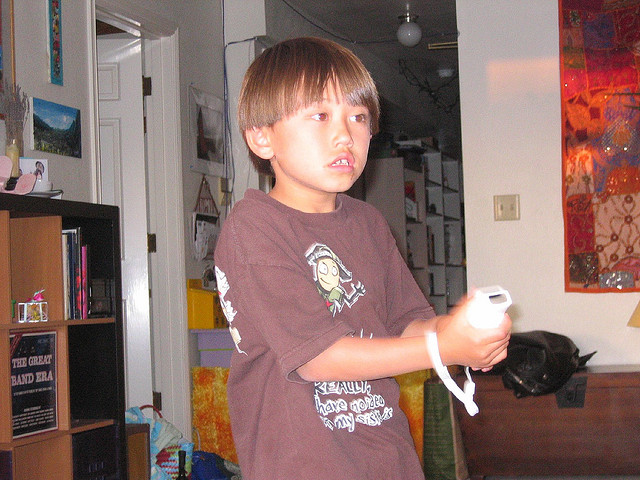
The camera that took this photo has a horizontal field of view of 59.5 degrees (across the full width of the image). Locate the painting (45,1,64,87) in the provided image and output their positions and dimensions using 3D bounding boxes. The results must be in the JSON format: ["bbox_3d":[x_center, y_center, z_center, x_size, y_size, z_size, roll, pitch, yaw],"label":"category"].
[{"bbox_3d":[-1.297,-0.959,2.724,0.040,0.413,0.111,-4,-1,21],"label":"painting"}]

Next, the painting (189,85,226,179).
[{"bbox_3d":[-0.798,-0.735,3.885,0.053,0.723,0.586,-5,-9,23],"label":"painting"}]

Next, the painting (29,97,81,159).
[{"bbox_3d":[-1.290,-0.536,2.687,0.031,0.246,0.325,0,2,21],"label":"painting"}]

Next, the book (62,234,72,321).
[{"bbox_3d":[-1.010,0.143,2.209,0.030,0.335,0.046,-5,-2,41],"label":"book"}]
